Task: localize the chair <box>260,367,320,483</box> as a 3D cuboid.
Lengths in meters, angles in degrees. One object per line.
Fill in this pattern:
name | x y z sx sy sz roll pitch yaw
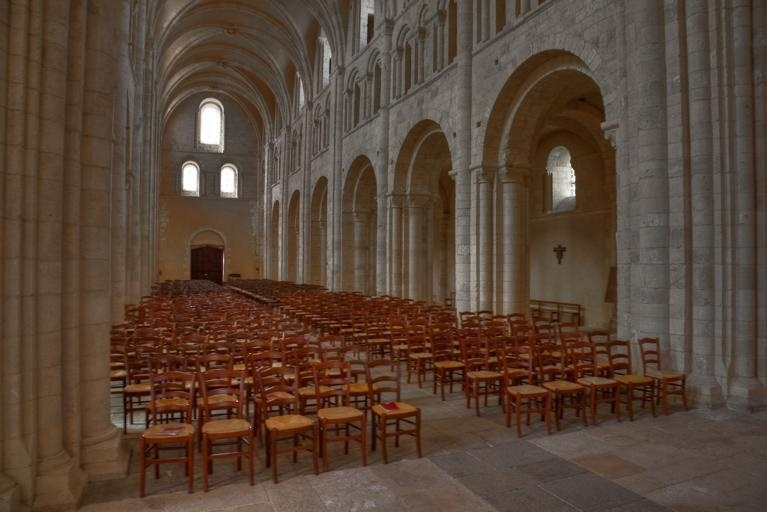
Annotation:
chair | -1.548 2.619 9.726 0.902 1.463 1.012 -2 4 -41
